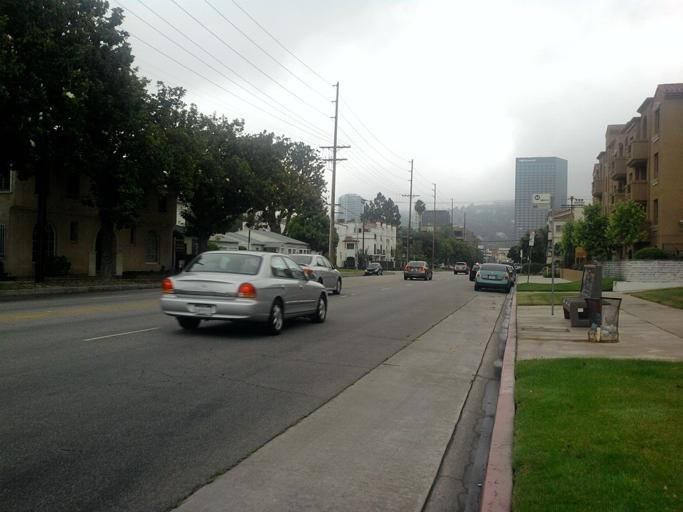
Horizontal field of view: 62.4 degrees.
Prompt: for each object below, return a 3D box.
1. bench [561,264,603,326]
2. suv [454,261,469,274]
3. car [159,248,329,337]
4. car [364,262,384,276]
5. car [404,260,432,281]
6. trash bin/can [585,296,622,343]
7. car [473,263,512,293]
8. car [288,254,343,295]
[{"bbox_3d":[6.537,1.067,15.403,0.749,1.662,1.939,4,0,19],"label":"bench"},{"bbox_3d":[16.913,1.833,80.396,1.549,1.521,3.750,-1,-3,10],"label":"suv"},{"bbox_3d":[-2.024,0.808,12.829,1.834,1.829,3.631,1,0,35],"label":"car"},{"bbox_3d":[3.783,1.549,66.946,1.284,1.334,2.817,0,0,22],"label":"car"},{"bbox_3d":[6.524,1.315,49.351,2.915,1.452,1.334,0,1,-44],"label":"car"},{"bbox_3d":[6.163,1.476,13.180,0.533,1.049,1.788,3,-2,22],"label":"trash bin/can"},{"bbox_3d":[8.980,1.319,33.729,2.023,1.679,2.098,0,0,12],"label":"car"},{"bbox_3d":[-0.998,0.742,25.427,1.132,1.034,2.901,1,-1,24],"label":"car"}]
